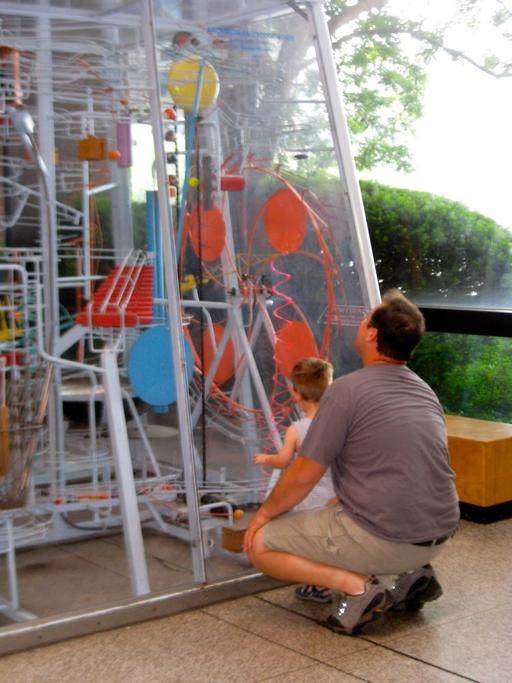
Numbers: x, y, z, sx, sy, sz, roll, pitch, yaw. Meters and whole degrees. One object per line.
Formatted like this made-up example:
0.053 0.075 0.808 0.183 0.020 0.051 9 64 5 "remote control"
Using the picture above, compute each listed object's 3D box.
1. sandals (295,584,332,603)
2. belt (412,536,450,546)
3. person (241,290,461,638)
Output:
0.192 0.878 2.042 0.134 0.057 0.053 5 6 37 "sandals"
0.520 0.592 1.699 0.068 0.015 0.062 -2 -11 -34 "belt"
0.302 0.351 1.734 0.647 1.027 0.289 1 -4 0 "person"
